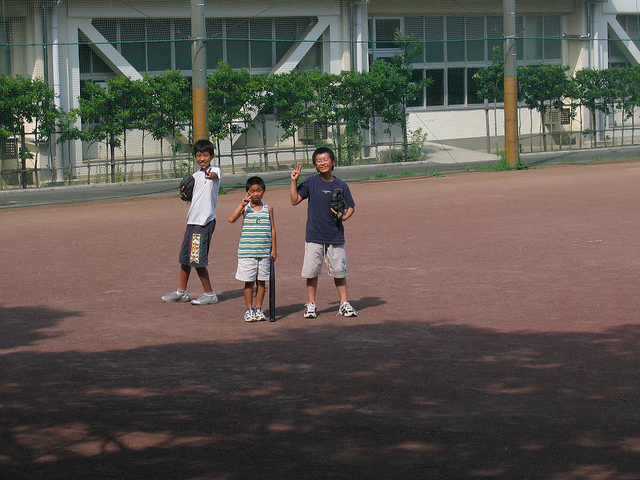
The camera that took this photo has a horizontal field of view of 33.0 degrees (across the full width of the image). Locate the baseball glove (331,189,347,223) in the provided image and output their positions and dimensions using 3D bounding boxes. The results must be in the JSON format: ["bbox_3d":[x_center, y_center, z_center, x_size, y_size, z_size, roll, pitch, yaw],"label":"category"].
[{"bbox_3d":[0.211,-0.378,12.414,0.169,0.382,0.137,3,13,22],"label":"baseball glove"}]

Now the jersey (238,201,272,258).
[{"bbox_3d":[-0.740,-0.111,12.536,0.389,0.623,0.278,-2,12,-2],"label":"jersey"}]

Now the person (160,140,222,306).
[{"bbox_3d":[-1.568,-0.229,13.407,0.726,2.004,0.840,-2,12,-2],"label":"person"}]

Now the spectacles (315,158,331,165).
[{"bbox_3d":[0.044,-0.906,12.440,0.152,0.067,0.058,-2,12,-4],"label":"spectacles"}]

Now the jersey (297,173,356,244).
[{"bbox_3d":[0.077,-0.339,12.583,0.639,0.811,0.369,-2,12,0],"label":"jersey"}]
